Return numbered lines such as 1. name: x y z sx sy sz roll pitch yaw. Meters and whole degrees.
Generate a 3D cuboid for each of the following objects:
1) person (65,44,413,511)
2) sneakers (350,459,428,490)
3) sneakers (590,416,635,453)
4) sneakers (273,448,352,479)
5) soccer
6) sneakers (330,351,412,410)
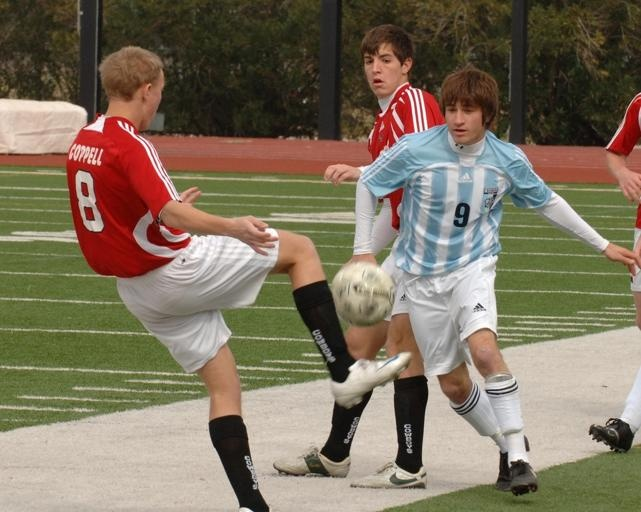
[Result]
1. person: -0.681 0.129 8.051 1.746 2.759 0.744 -1 8 0
2. sneakers: 0.485 1.443 8.826 0.553 0.170 0.168 2 -16 4
3. sneakers: 2.062 1.239 9.281 0.416 0.206 0.154 14 -15 -26
4. sneakers: -0.035 1.382 9.022 0.578 0.192 0.195 5 -8 0
5. soccer: 0.274 0.235 8.287 0.441 0.363 0.392 0 1 7
6. sneakers: 0.328 0.736 8.132 0.586 0.234 0.203 -36 -29 23
